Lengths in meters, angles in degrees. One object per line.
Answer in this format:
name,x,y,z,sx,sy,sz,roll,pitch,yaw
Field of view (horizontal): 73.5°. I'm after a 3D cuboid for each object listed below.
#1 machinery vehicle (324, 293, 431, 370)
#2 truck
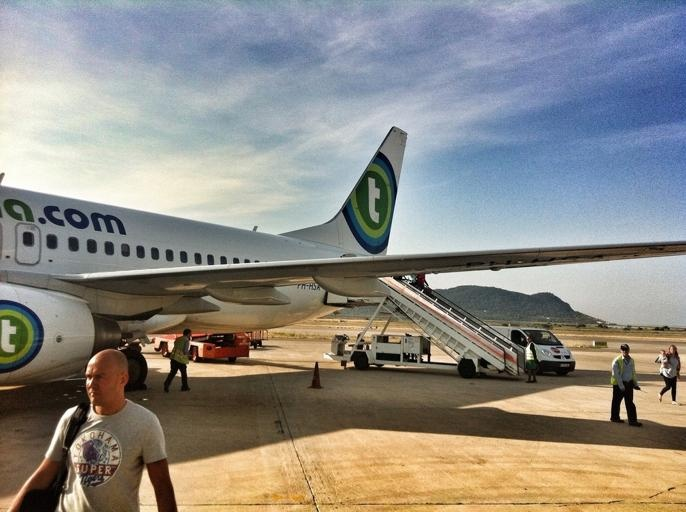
machinery vehicle,1.630,3.823,22.129,5.093,2.744,2.640,4,-13,-11
truck,8.621,4.731,22.982,2.755,2.064,5.052,4,-12,-36
